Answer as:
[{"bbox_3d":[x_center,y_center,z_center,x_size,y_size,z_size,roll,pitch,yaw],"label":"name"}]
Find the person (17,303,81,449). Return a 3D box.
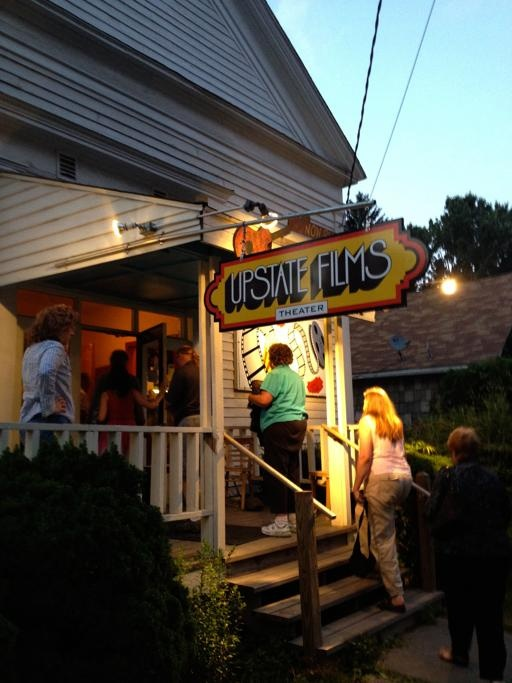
[{"bbox_3d":[-1.342,0.150,3.765,0.362,0.784,0.427,-3,-4,-21],"label":"person"}]

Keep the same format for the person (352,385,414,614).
[{"bbox_3d":[1.006,1.232,4.545,0.438,1.738,0.358,-1,-5,-35],"label":"person"}]

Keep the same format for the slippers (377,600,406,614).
[{"bbox_3d":[1.060,2.065,4.545,0.211,0.098,0.084,3,-1,41],"label":"slippers"}]

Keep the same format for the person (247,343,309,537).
[{"bbox_3d":[0.220,0.886,5.281,0.488,1.745,0.697,-5,-4,12],"label":"person"}]

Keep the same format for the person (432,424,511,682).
[{"bbox_3d":[1.351,1.339,3.612,0.508,1.565,0.433,-8,-6,44],"label":"person"}]
